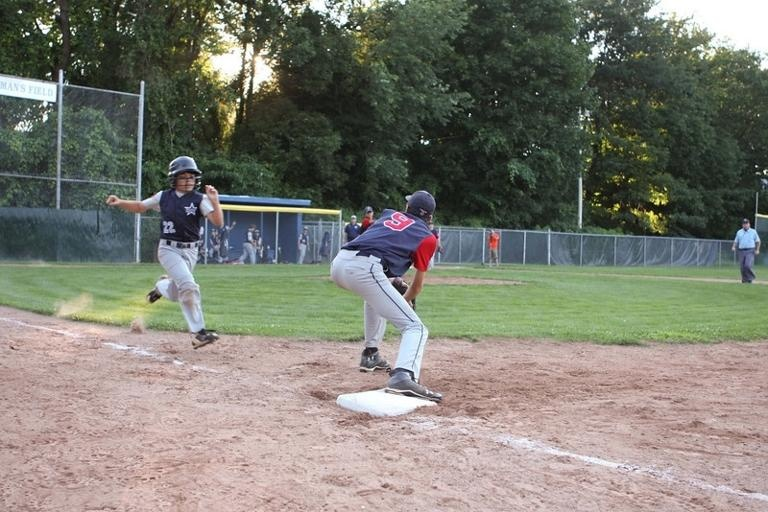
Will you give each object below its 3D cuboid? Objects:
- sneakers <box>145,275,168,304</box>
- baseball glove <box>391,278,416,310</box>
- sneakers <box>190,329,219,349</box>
[{"bbox_3d":[-4.798,0.702,18.048,0.281,0.655,0.227,45,11,27],"label":"sneakers"},{"bbox_3d":[0.299,0.592,13.662,0.245,0.585,0.434,-23,12,-4],"label":"baseball glove"},{"bbox_3d":[-3.138,1.423,14.840,0.580,0.262,0.252,-20,-14,40],"label":"sneakers"}]
